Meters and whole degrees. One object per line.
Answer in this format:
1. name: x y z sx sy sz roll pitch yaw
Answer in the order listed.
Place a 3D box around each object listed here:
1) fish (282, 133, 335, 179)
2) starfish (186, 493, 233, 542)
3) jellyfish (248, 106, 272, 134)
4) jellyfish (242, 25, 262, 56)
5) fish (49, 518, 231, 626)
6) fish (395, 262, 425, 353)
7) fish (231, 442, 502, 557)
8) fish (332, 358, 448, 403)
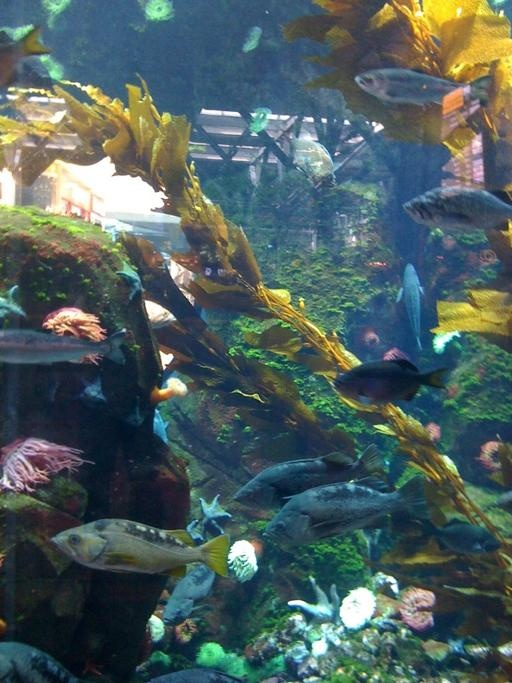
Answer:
1. fish: 0.398 -1.313 5.074 0.275 0.254 0.354 0 -6 14
2. starfish: -0.280 1.075 4.215 0.222 0.240 0.079 26 -25 36
3. jellyfish: 0.019 -1.484 4.702 0.153 0.154 0.050 -2 29 2
4. jellyfish: -0.027 -2.192 5.065 0.072 0.221 0.195 6 -8 -31
5. fish: -0.528 0.984 3.286 0.842 0.285 0.112 3 -7 -16
6. fish: 1.144 -0.268 5.072 0.253 0.558 0.190 -10 -28 20
7. fish: 0.468 0.752 3.451 1.039 0.489 0.607 1 4 -20
8. fish: 0.553 0.163 3.469 0.728 0.238 0.399 -1 1 -34
